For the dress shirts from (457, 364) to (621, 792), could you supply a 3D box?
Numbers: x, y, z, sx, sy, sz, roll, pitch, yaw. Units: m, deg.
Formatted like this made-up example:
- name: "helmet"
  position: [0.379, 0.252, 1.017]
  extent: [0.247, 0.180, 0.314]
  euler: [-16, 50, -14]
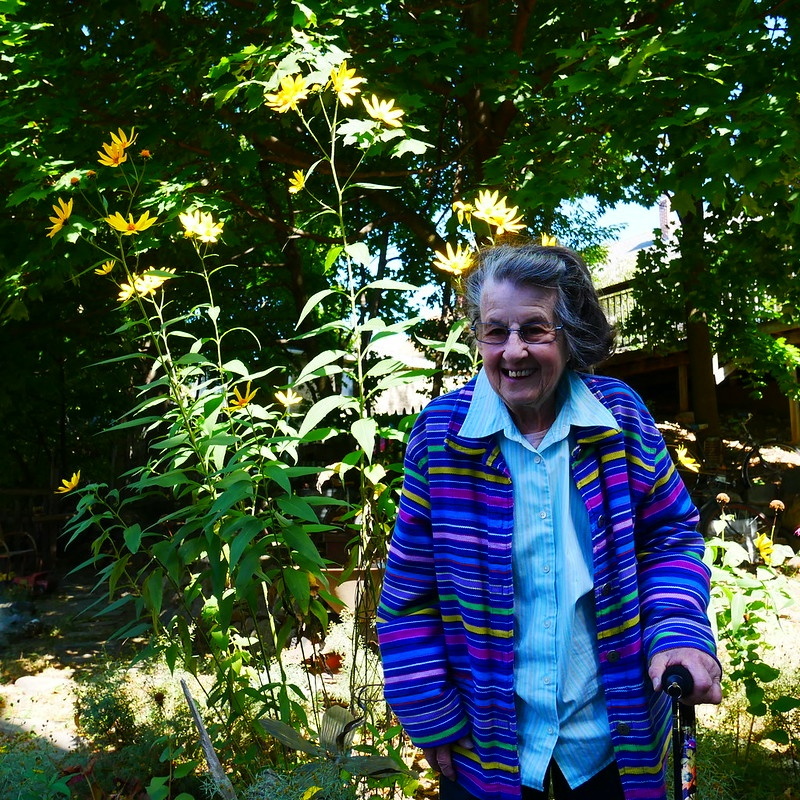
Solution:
- name: "dress shirts"
  position: [0.313, 0.407, 1.806]
  extent: [0.347, 0.907, 0.153]
  euler: [-1, -10, 9]
